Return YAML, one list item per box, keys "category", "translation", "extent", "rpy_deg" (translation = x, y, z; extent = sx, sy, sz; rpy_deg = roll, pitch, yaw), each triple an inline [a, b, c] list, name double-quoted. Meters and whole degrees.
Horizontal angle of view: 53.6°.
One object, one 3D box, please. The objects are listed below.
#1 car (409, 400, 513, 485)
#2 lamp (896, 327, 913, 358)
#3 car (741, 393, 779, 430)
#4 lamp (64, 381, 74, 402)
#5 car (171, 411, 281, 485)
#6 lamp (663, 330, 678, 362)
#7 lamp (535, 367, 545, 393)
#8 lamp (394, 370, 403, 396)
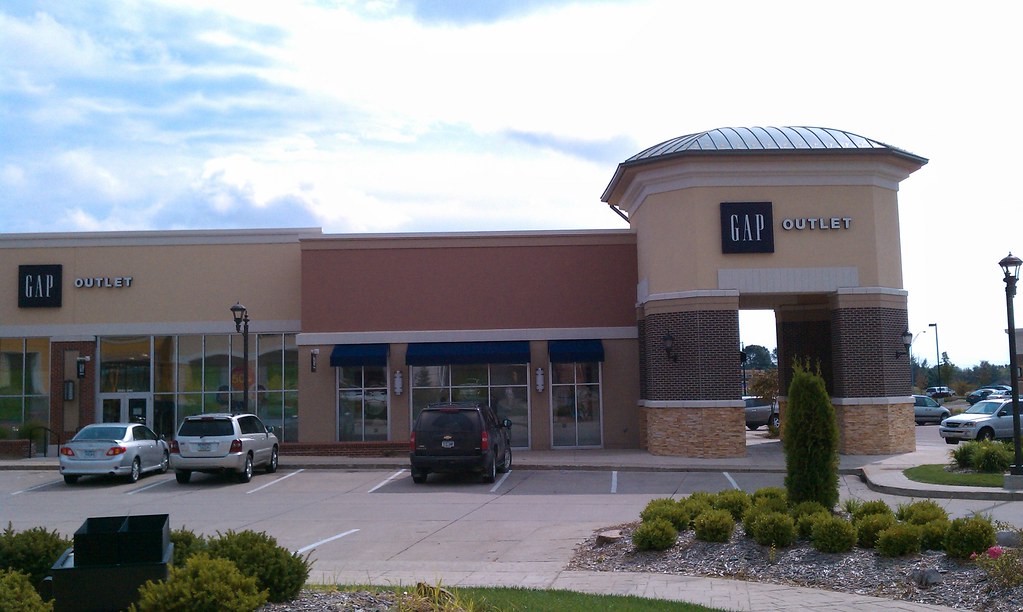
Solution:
- category: "car"
  translation: [-1.790, 4.749, 35.250]
  extent: [3.459, 2.683, 1.933]
  rpy_deg: [0, -6, -19]
- category: "lamp"
  translation: [15.682, 1.500, 40.405]
  extent: [0.526, 1.135, 0.680]
  rpy_deg: [-6, -7, 34]
- category: "car"
  translation: [13.587, 5.792, 55.289]
  extent: [1.546, 1.850, 4.457]
  rpy_deg: [-3, -6, 9]
- category: "lamp"
  translation: [-19.531, 3.700, 44.695]
  extent: [0.471, 0.891, 0.165]
  rpy_deg: [-1, -6, -15]
- category: "car"
  translation: [-10.092, 5.054, 36.162]
  extent: [1.826, 2.442, 3.498]
  rpy_deg: [-7, -8, 39]
- category: "lamp"
  translation: [6.331, 1.586, 40.228]
  extent: [0.577, 1.224, 0.284]
  rpy_deg: [-4, -6, 11]
- category: "lamp"
  translation: [1.203, 3.141, 43.369]
  extent: [0.449, 1.066, 0.275]
  rpy_deg: [-2, -6, -2]
- category: "lamp"
  translation: [-4.891, 3.275, 43.460]
  extent: [0.451, 1.164, 0.276]
  rpy_deg: [-2, -6, -7]
